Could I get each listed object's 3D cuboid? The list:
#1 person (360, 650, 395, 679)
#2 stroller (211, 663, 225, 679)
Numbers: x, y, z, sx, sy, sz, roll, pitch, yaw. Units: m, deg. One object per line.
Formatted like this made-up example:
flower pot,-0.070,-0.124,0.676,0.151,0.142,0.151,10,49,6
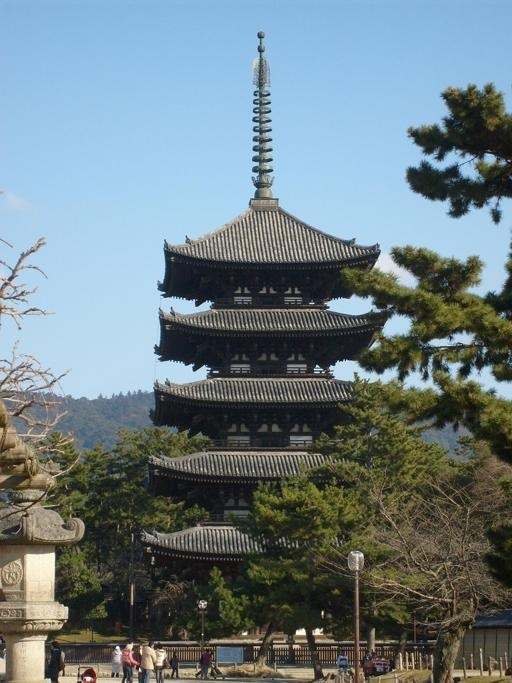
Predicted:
person,4.022,11.116,79.818,0.774,0.764,0.628,0,-8,8
stroller,-1.469,11.711,82.534,0.400,0.656,0.385,-11,-30,21
